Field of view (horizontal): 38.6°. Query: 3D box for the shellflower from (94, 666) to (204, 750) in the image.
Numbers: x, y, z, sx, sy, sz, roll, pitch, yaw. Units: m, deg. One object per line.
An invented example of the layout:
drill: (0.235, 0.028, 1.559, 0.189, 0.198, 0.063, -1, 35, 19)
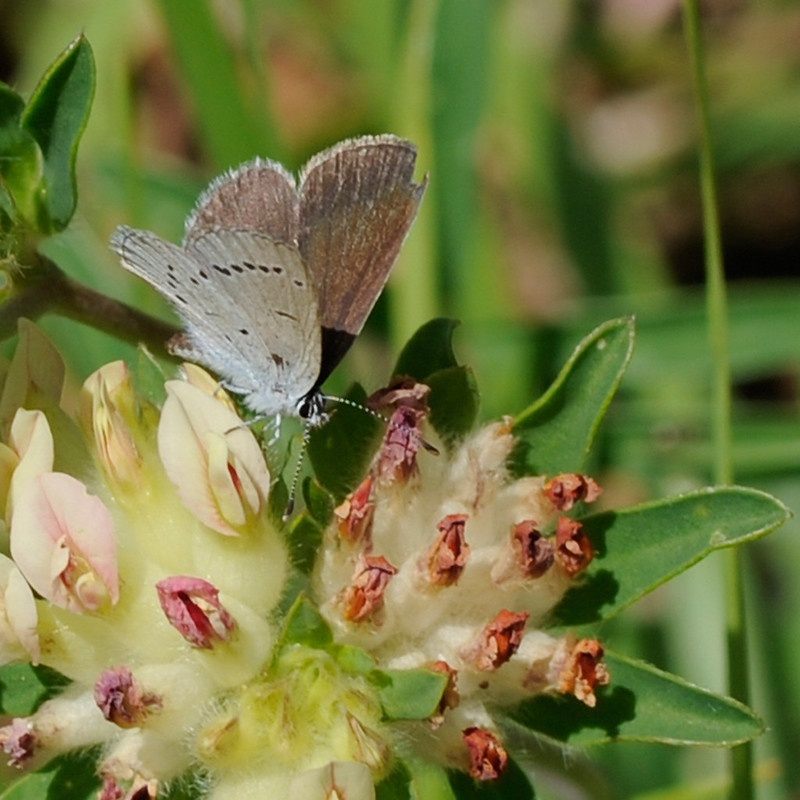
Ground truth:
shellflower: (-0.551, 0.662, 2.533, 0.262, 0.179, 0.091, -3, 14, -36)

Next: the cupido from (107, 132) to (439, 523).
cupido: (-0.359, -0.437, 3.549, 0.959, 1.027, 1.207, 35, 5, 5)

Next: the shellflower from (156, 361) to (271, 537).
shellflower: (-0.426, 0.114, 2.606, 0.253, 0.353, 0.147, -13, 5, -37)

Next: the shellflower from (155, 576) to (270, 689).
shellflower: (-0.418, 0.480, 2.594, 0.222, 0.269, 0.259, 0, 16, -8)
